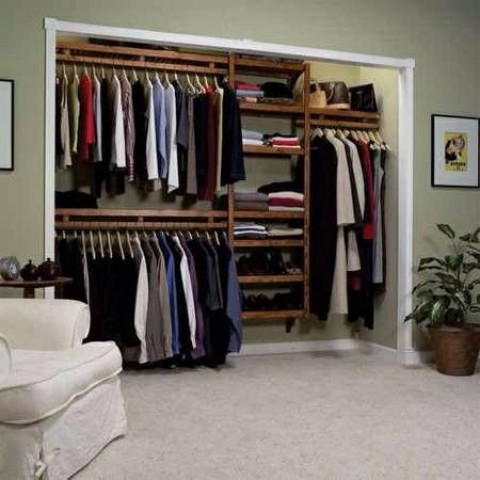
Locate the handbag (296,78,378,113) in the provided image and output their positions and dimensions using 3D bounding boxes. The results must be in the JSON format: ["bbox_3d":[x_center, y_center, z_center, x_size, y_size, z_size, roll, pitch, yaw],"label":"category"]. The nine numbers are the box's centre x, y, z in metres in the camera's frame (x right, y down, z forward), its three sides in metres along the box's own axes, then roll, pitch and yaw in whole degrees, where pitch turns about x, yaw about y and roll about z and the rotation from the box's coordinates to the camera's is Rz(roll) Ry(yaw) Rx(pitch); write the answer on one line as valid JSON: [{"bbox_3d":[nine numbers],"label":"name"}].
[{"bbox_3d":[0.876,-1.239,4.359,0.340,0.237,0.523,-5,11,-36],"label":"handbag"}]

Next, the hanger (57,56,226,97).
[{"bbox_3d":[-0.739,-1.299,3.902,1.214,0.265,0.362,0,0,-17],"label":"hanger"}]
